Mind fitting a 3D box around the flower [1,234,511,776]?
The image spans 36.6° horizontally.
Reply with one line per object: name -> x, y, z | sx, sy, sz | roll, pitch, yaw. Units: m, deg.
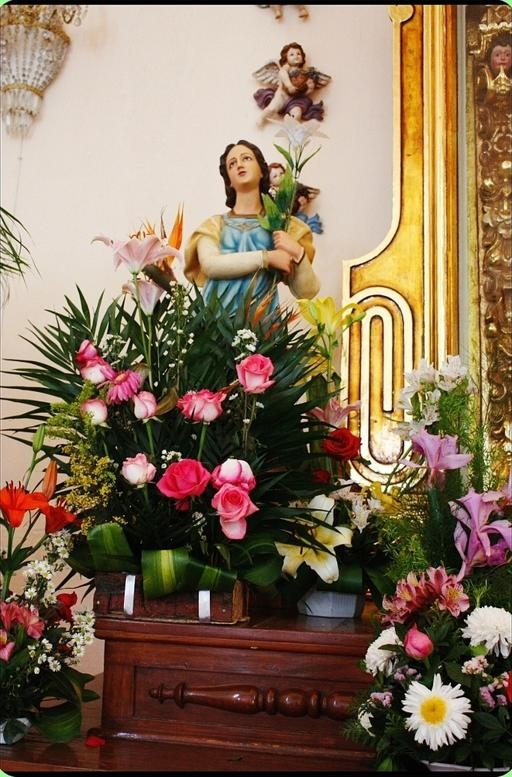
flower -> -0.001, 0.105, 0.940 | 0.634, 0.539, 0.434 | -4, -10, 22
